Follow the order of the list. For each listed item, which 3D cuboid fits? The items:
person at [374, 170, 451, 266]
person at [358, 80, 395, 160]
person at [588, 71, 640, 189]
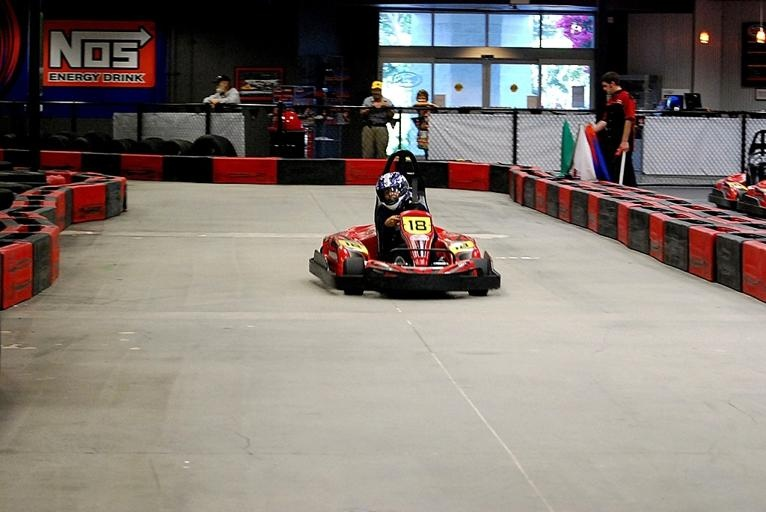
[{"bbox_3d":[0.269,-0.402,7.332,0.537,0.707,0.833,-24,17,-32],"label":"person"},{"bbox_3d":[-0.145,-2.646,15.319,0.716,1.511,0.543,2,19,0],"label":"person"},{"bbox_3d":[3.673,-1.957,12.236,0.743,1.732,1.018,5,16,12],"label":"person"}]
